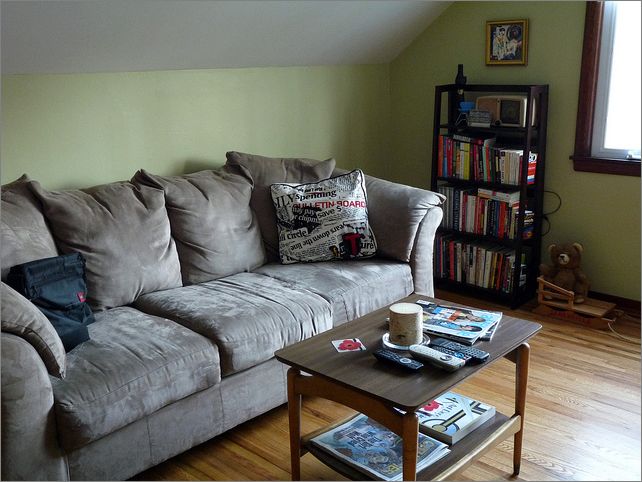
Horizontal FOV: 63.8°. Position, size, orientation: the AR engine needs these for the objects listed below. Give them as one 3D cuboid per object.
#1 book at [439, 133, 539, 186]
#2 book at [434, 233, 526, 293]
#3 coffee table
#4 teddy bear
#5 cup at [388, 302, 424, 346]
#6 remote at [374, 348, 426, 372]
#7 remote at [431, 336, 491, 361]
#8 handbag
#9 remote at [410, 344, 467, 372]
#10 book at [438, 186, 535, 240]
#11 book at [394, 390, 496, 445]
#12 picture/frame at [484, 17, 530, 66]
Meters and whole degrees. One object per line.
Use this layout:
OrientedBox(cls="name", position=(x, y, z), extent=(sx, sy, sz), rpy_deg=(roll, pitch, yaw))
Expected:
OrientedBox(cls="book", position=(1.127, -0.578, 3.596), extent=(0.630, 0.318, 0.154), rpy_deg=(11, 21, 39))
OrientedBox(cls="book", position=(1.148, 0.145, 3.628), extent=(0.409, 0.210, 0.151), rpy_deg=(13, 12, 36))
OrientedBox(cls="coffee table", position=(0.372, 0.673, 2.095), extent=(0.919, 0.640, 0.608), rpy_deg=(-14, 20, -37))
OrientedBox(cls="teddy bear", position=(1.636, 0.200, 3.448), extent=(0.259, 0.360, 0.319), rpy_deg=(-18, 17, -39))
OrientedBox(cls="cup", position=(0.326, 0.320, 2.039), extent=(0.149, 0.155, 0.145), rpy_deg=(-1, 8, 0))
OrientedBox(cls="remote", position=(0.286, 0.427, 1.843), extent=(0.175, 0.039, 0.063), rpy_deg=(18, 31, 36))
OrientedBox(cls="remote", position=(0.515, 0.398, 1.916), extent=(0.143, 0.030, 0.075), rpy_deg=(16, 9, 38))
OrientedBox(cls="handbag", position=(-1.128, 0.255, 2.221), extent=(0.324, 0.353, 0.320), rpy_deg=(-16, 21, -39))
OrientedBox(cls="remote", position=(0.424, 0.400, 1.854), extent=(0.148, 0.037, 0.080), rpy_deg=(18, 28, 37))
OrientedBox(cls="book", position=(1.132, -0.217, 3.643), extent=(0.614, 0.325, 0.150), rpy_deg=(12, 22, 40))
OrientedBox(cls="book", position=(0.531, 0.709, 2.077), extent=(0.243, 0.035, 0.275), rpy_deg=(12, 20, 42))
OrientedBox(cls="picture/frame", position=(1.317, -1.404, 3.611), extent=(0.378, 0.362, 0.029), rpy_deg=(5, 12, 37))
